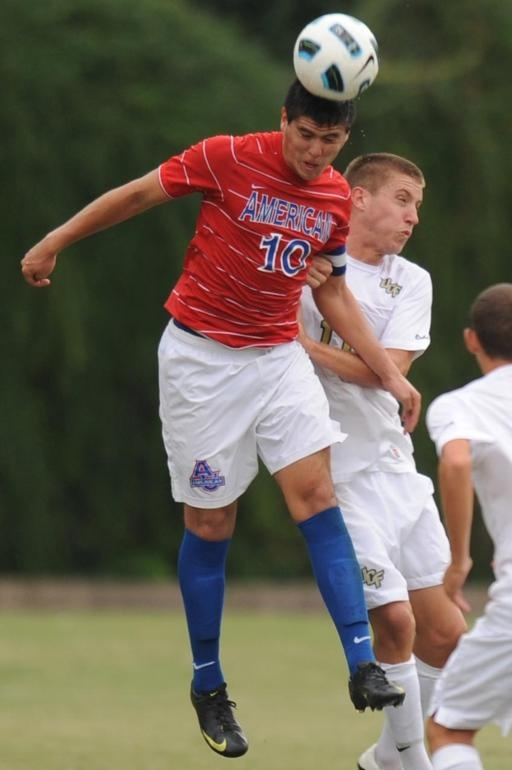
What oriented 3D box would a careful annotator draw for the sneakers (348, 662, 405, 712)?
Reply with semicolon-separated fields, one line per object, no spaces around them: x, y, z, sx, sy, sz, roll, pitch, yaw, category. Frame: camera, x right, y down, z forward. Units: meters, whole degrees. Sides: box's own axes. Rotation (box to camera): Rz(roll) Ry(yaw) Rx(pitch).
0.294;0.739;2.242;0.092;0.112;0.220;1;-17;-22;sneakers

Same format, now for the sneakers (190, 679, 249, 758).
-0.107;0.977;2.637;0.111;0.112;0.272;-12;38;-20;sneakers

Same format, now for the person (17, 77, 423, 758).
-0.041;0.161;2.509;0.967;1.543;0.606;5;-2;7;person

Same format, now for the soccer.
0.200;-0.811;2.364;0.254;0.210;0.227;2;7;1;soccer
